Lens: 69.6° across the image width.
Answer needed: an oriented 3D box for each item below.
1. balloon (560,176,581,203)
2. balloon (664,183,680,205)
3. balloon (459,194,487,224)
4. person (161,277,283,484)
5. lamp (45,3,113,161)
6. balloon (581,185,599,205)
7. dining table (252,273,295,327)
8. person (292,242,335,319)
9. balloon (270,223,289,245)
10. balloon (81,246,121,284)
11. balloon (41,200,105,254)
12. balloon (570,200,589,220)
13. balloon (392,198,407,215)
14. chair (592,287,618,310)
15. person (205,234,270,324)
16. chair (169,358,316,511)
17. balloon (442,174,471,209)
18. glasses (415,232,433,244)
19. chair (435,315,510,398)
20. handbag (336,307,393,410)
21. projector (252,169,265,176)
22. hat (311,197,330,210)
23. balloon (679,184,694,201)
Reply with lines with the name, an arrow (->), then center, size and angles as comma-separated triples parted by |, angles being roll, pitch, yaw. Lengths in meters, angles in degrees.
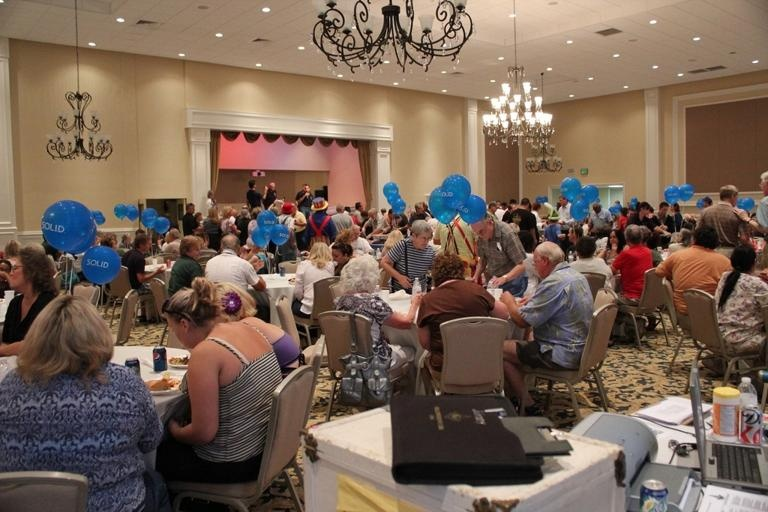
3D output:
balloon -> 4.030, -1.434, 11.980 | 0.353, 0.540, 1.077 | 1, 4, 14
balloon -> 6.663, -1.410, 12.808 | 0.301, 0.411, 0.758 | 2, 4, 27
balloon -> 1.074, -0.538, 6.415 | 0.296, 0.364, 0.288 | 1, 5, -30
person -> -1.009, 0.735, 3.342 | 0.752, 1.189, 0.457 | 0, 4, 3
lamp -> -6.849, -3.520, 12.397 | 1.287, 2.731, 2.041 | -3, 5, -30
balloon -> 4.253, -1.256, 11.471 | 0.591, 0.361, 0.212 | -4, 5, -42
dining table -> -1.378, 0.524, 7.165 | 0.630, 0.691, 0.674 | -2, 2, -13
person -> -0.880, 0.246, 6.904 | 0.525, 0.875, 0.661 | 7, 7, 18
balloon -> -1.713, -0.344, 9.011 | 0.304, 0.458, 0.302 | 0, 5, -37
balloon -> -3.212, 0.105, 6.265 | 0.404, 0.503, 0.421 | 8, 0, -5
balloon -> -3.144, -0.286, 5.522 | 0.446, 0.519, 0.365 | -3, 5, -31
balloon -> 4.010, -0.902, 11.456 | 0.366, 0.461, 0.383 | -3, -5, 5
balloon -> 0.315, -1.113, 12.534 | 0.243, 0.372, 0.293 | -1, 4, -18
chair -> 2.218, 0.430, 5.591 | 0.111, 0.290, 0.234 | 0, 18, -11
person -> -1.844, 0.288, 6.938 | 0.761, 1.216, 0.774 | -8, 19, -38
chair -> -0.783, 1.113, 3.783 | 0.891, 1.311, 0.925 | 2, -2, 10
balloon -> 0.864, -0.758, 6.556 | 0.344, 0.430, 0.351 | -4, 1, -7
glasses -> 0.435, -0.214, 6.282 | 0.127, 0.069, 0.134 | -5, 15, -19
chair -> 0.691, 0.778, 4.441 | 0.519, 0.864, 0.618 | 0, 37, 3
handbag -> -0.158, 0.844, 4.406 | 0.391, 0.737, 0.531 | 0, 4, -4
projector -> -3.773, -2.503, 16.933 | 0.348, 0.186, 0.547 | 3, 5, 41
hat -> -1.201, -0.958, 10.433 | 0.289, 0.152, 0.298 | -10, 20, -12
balloon -> 7.299, -1.531, 13.391 | 0.214, 0.357, 0.916 | 2, 5, 34
